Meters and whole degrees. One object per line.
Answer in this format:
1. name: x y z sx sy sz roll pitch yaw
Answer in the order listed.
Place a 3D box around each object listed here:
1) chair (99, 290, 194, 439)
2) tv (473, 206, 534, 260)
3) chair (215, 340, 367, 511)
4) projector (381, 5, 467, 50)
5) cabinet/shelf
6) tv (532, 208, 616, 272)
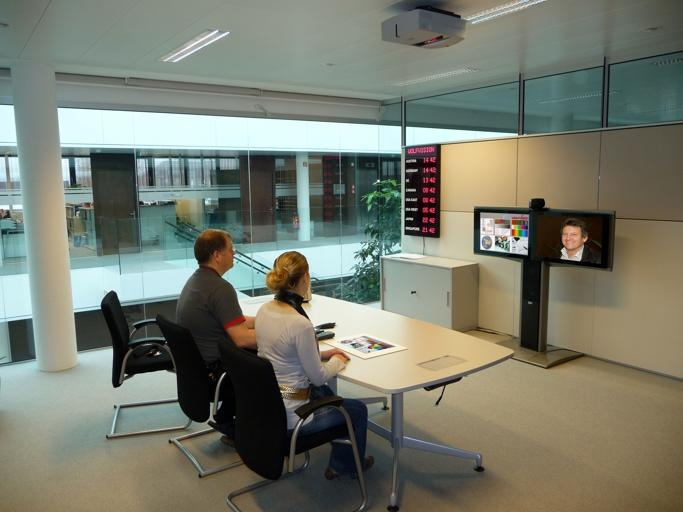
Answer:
1. chair: -1.855 0.958 4.747 0.816 1.160 0.780 -4 8 -32
2. tv: 2.064 -0.303 6.193 0.075 0.486 0.689 -4 5 -40
3. chair: -0.385 1.186 3.465 0.933 1.323 0.604 -5 15 -16
4. projector: 0.766 -1.943 4.323 0.467 0.172 0.349 -6 10 -37
5. cabinet/shelf: 1.266 0.511 7.304 0.572 0.932 1.459 -9 12 -36
6. tv: 2.657 -0.199 5.570 0.073 0.517 0.701 -8 11 -41
